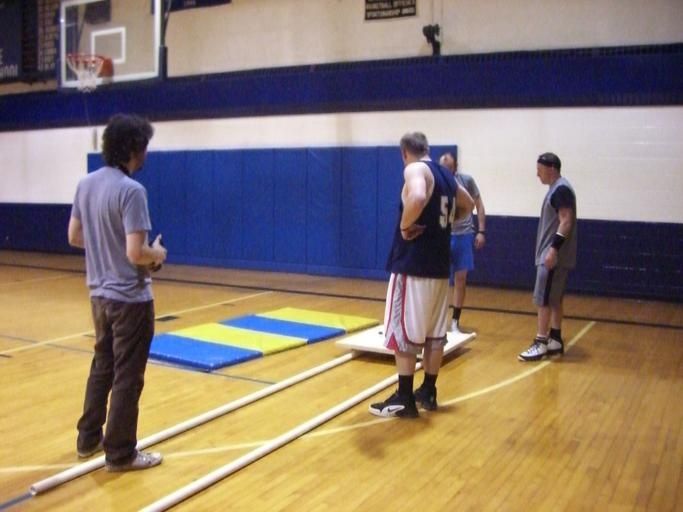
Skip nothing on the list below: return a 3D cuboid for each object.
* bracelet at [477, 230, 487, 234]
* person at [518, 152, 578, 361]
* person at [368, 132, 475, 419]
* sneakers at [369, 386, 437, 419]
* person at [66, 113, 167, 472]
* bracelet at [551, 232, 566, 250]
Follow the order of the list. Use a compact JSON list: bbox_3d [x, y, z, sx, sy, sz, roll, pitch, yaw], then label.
[{"bbox_3d":[1.657,-0.290,6.522,0.118,0.056,0.125,-3,-1,41],"label":"bracelet"},{"bbox_3d":[1.824,0.004,4.854,0.421,1.828,0.448,4,8,25],"label":"person"},{"bbox_3d":[0.547,0.125,3.759,0.666,1.931,0.376,-5,9,-36],"label":"person"},{"bbox_3d":[0.423,0.987,3.860,0.533,0.260,0.199,-1,-2,-6],"label":"sneakers"},{"bbox_3d":[-1.257,0.209,3.083,0.529,1.983,0.364,-2,7,-17],"label":"person"},{"bbox_3d":[1.829,-0.126,4.648,0.068,0.130,0.085,-3,30,-45],"label":"bracelet"}]
